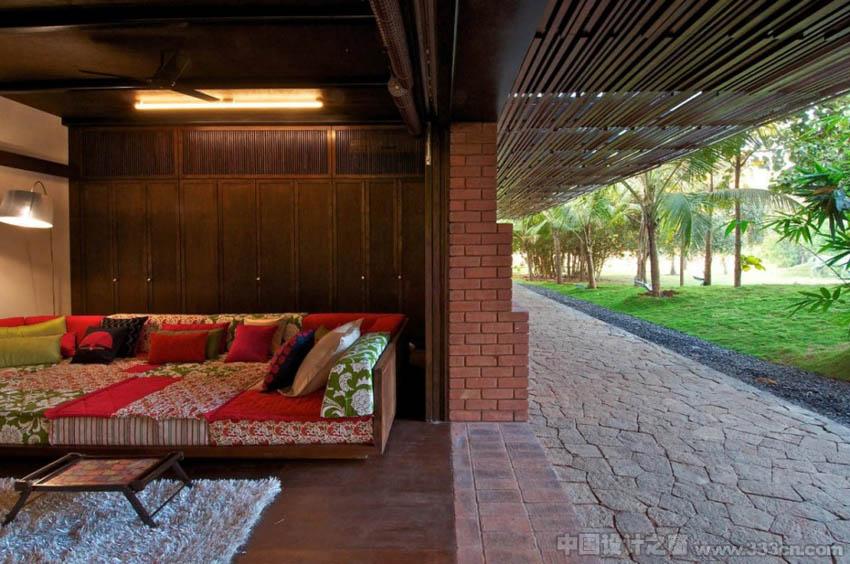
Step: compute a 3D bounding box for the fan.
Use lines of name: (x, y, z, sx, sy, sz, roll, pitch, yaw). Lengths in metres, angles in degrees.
fan: (-2.897, -2.252, 5.683, 0.895, 0.524, 0.851, -5, 9, -39)

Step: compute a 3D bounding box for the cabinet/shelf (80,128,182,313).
cabinet/shelf: (-4.025, -0.825, 7.033, 1.499, 2.431, 0.343, 1, 8, 2)
